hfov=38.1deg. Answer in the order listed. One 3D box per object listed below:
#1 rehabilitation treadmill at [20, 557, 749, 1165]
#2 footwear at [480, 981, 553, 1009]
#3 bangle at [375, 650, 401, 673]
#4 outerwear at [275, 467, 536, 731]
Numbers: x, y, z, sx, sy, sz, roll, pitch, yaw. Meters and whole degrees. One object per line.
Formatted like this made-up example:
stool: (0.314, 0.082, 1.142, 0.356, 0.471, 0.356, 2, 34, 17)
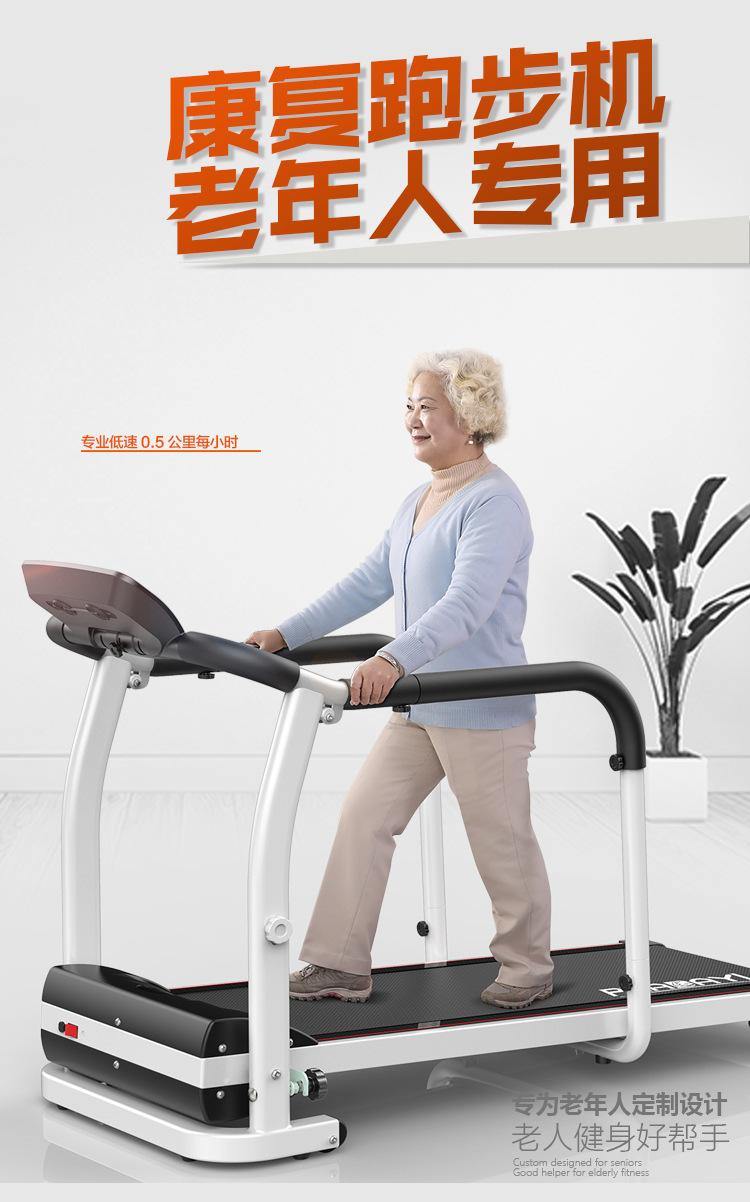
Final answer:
rehabilitation treadmill: (0.041, 0.333, 1.883, 1.184, 0.786, 0.733, -1, 2, -31)
footwear: (0.227, 0.626, 1.722, 0.111, 0.053, 0.041, 8, -15, -34)
bangle: (0.019, 0.087, 1.510, 0.036, 0.033, 0.040, 1, -5, -1)
outerwear: (0.086, -0.020, 1.885, 0.444, 0.450, 0.447, 1, 4, -20)
